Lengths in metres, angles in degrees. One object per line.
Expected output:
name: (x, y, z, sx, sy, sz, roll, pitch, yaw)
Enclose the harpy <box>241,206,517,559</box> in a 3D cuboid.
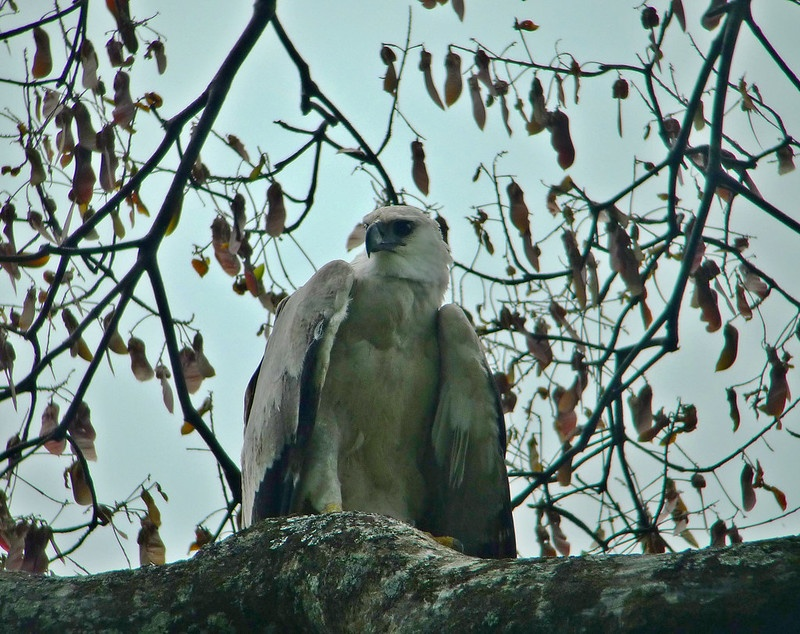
harpy: (-0.076, 0.431, 14.466, 1.402, 2.290, 2.142, 10, -46, -11)
